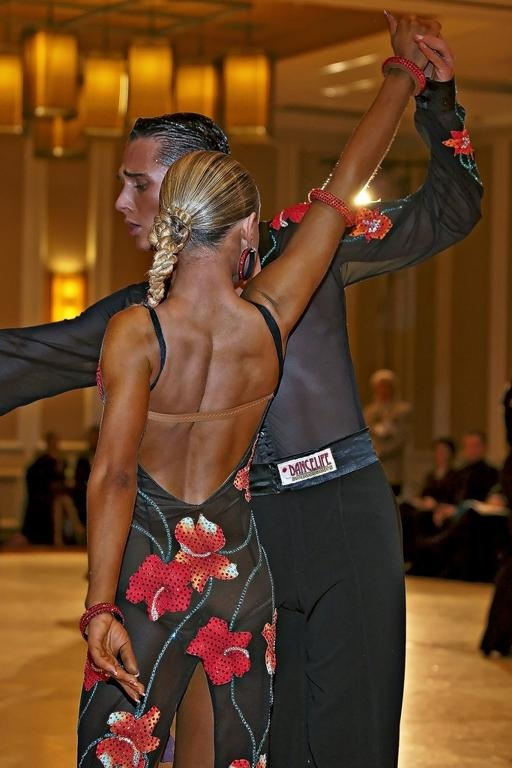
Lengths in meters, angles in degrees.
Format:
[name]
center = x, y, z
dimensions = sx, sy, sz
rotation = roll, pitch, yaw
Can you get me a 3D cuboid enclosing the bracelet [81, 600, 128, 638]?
[bracelet]
center = -0.205, 0.290, 0.994
dimensions = 0.055, 0.049, 0.021
rotation = -4, 14, -6
